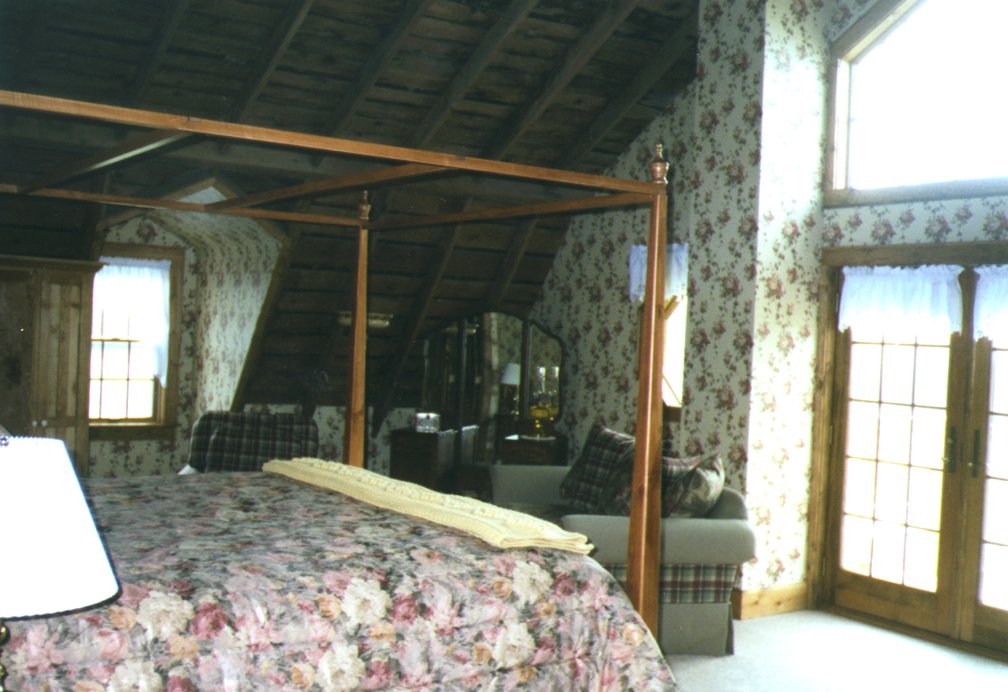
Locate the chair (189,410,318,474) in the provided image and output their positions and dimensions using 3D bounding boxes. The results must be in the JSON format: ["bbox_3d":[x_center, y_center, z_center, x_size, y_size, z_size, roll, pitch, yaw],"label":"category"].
[{"bbox_3d":[-1.886,0.696,7.122,0.943,0.404,0.306,-3,15,-22],"label":"chair"}]

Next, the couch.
[{"bbox_3d":[0.883,1.147,5.875,0.916,0.891,1.746,4,-7,-11],"label":"couch"}]

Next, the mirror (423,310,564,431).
[{"bbox_3d":[-0.098,0.210,8.090,1.315,1.132,0.050,4,-5,-28],"label":"mirror"}]
